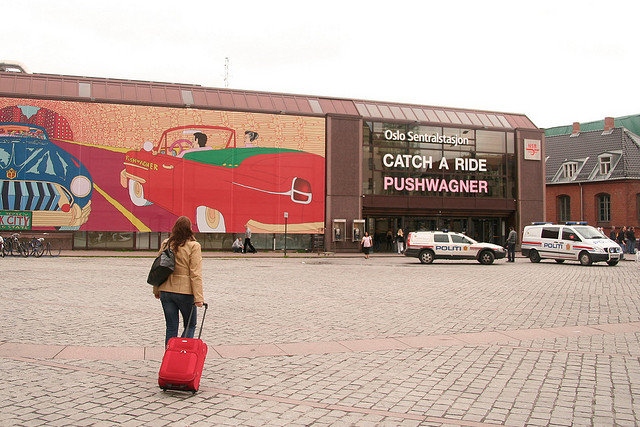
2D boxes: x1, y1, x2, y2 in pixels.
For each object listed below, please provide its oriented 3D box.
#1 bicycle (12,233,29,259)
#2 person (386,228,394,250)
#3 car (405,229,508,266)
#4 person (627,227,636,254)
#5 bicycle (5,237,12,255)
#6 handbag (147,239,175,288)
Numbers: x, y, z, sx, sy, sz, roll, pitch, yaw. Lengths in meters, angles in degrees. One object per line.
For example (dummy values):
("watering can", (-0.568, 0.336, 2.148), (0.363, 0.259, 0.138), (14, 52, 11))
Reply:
("bicycle", (-15.074, 1.623, 36.289), (0.595, 1.033, 1.145), (-11, 16, -41))
("person", (4.807, 1.742, 49.534), (0.522, 1.408, 0.543), (1, 13, 2))
("car", (6.818, 1.659, 36.505), (5.167, 1.628, 1.949), (1, 2, 8))
("person", (20.492, 1.822, 47.438), (0.542, 1.540, 0.920), (6, 13, 22))
("bicycle", (-15.727, 1.683, 36.428), (0.325, 0.784, 0.594), (0, -9, -2))
("handbag", (-3.343, 1.097, 15.158), (0.574, 0.950, 0.360), (-2, 13, -12))
